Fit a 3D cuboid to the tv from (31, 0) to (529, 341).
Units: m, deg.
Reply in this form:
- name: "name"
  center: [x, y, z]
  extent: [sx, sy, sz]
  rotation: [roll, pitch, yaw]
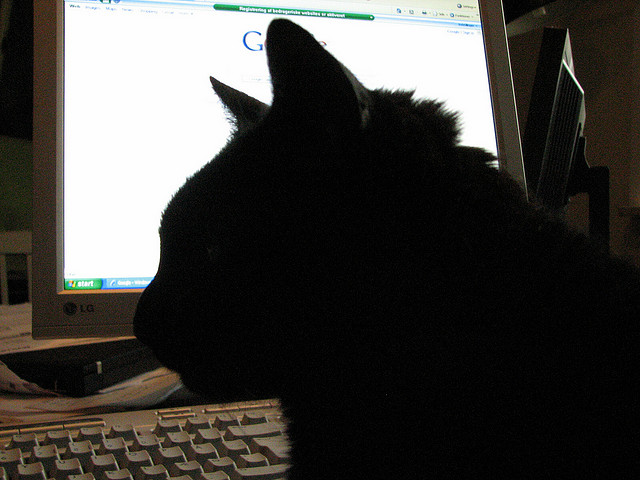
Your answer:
- name: "tv"
  center: [-0.070, -0.064, 0.665]
  extent: [0.400, 0.294, 0.042]
  rotation: [0, -11, -4]
